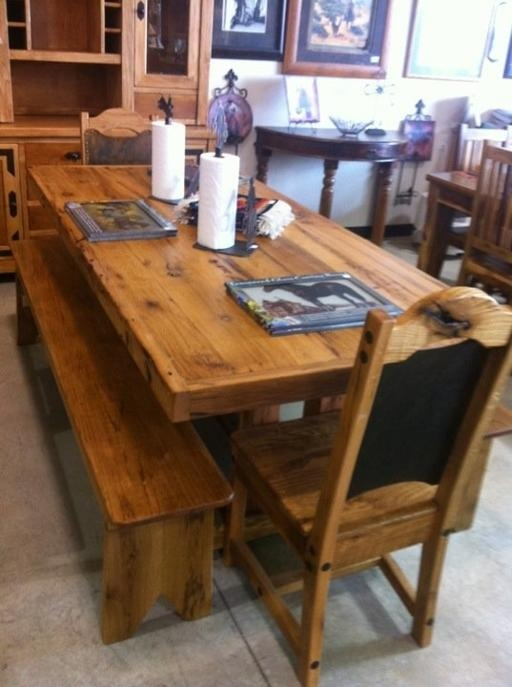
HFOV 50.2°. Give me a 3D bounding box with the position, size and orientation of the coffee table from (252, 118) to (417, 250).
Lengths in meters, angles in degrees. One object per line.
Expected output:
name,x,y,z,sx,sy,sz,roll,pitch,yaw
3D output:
coffee table,0.496,-1.018,3.875,1.000,0.890,0.773,-15,38,-23

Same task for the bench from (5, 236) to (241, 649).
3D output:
bench,-0.296,0.244,1.230,0.211,0.286,1.050,-7,39,-31

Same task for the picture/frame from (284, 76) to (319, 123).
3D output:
picture/frame,0.300,-1.646,3.655,0.302,0.313,0.034,-14,23,-30
